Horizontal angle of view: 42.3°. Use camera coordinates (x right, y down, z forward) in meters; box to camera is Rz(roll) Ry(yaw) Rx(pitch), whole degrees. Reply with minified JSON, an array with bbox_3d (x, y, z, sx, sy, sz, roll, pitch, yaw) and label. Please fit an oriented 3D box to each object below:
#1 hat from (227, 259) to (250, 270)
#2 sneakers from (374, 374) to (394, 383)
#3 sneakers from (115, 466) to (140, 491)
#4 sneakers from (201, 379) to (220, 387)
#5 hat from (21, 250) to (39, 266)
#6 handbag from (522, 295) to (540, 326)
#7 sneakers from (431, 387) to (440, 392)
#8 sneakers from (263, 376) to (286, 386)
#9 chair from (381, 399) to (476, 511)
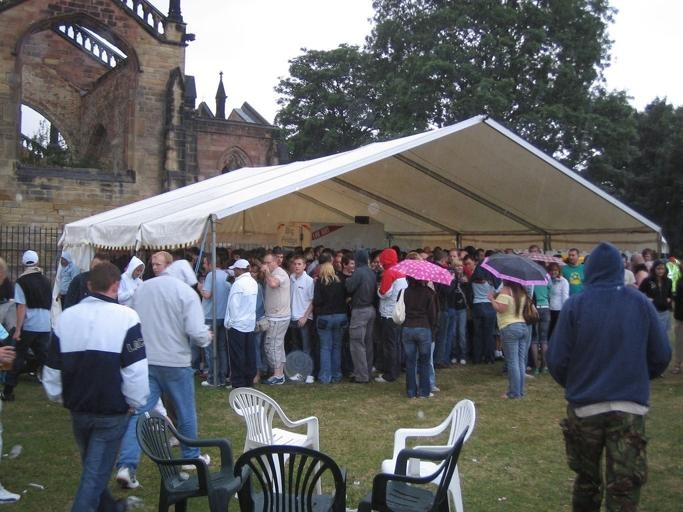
[{"bbox_3d":[-1.872,0.151,15.921,0.315,0.173,0.219,1,-2,9],"label":"hat"},{"bbox_3d":[0.786,2.331,16.776,0.263,0.110,0.139,5,-6,-5],"label":"sneakers"},{"bbox_3d":[-3.077,3.175,12.674,0.177,0.212,0.471,-11,-50,8],"label":"sneakers"},{"bbox_3d":[-2.479,2.358,16.493,0.349,0.150,0.133,7,2,22],"label":"sneakers"},{"bbox_3d":[-5.447,0.032,15.460,0.244,0.207,0.360,-2,8,-22],"label":"hat"},{"bbox_3d":[3.289,0.940,15.374,0.222,0.486,0.324,-1,-5,15],"label":"handbag"},{"bbox_3d":[1.693,2.419,15.977,0.178,0.080,0.065,-2,1,-33],"label":"sneakers"},{"bbox_3d":[-1.264,2.349,16.590,0.415,0.201,0.144,4,-13,-10],"label":"sneakers"},{"bbox_3d":[1.245,2.745,12.708,1.448,2.152,1.543,3,-7,1],"label":"chair"}]
